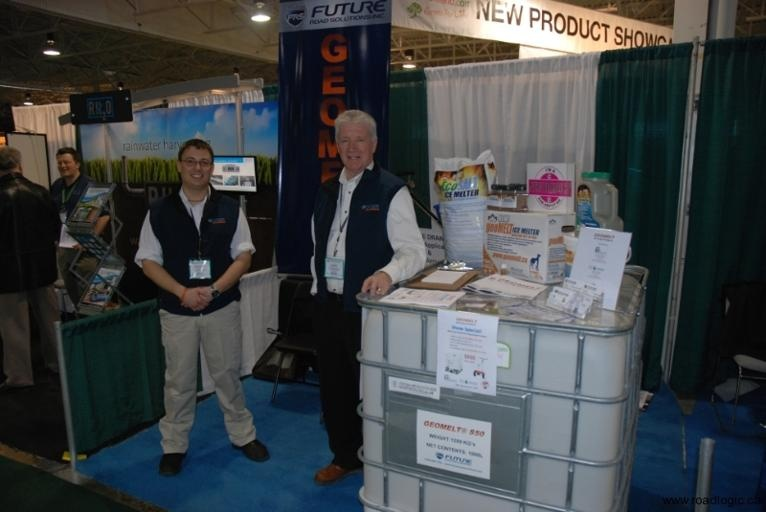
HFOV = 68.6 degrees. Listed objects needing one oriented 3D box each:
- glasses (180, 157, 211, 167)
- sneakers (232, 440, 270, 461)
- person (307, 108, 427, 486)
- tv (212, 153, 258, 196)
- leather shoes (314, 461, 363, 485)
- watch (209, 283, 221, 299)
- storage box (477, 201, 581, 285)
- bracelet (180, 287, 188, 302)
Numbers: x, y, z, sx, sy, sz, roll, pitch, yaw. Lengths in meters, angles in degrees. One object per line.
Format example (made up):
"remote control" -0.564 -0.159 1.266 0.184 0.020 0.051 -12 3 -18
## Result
"glasses" -1.410 -0.709 4.249 0.220 0.074 0.080 -8 17 -20
"sneakers" -1.057 1.565 4.516 0.283 0.124 0.116 3 10 26
"person" -0.109 0.367 3.945 1.002 2.690 0.765 12 21 43
"tv" -1.886 -1.035 7.155 0.813 0.536 0.059 4 6 10
"leather shoes" -0.311 1.635 4.280 0.387 0.166 0.143 1 5 -21
"watch" -1.263 0.274 4.224 0.073 0.114 0.099 1 -4 -36
"storage box" 0.849 -0.210 3.355 0.698 0.530 0.363 7 10 40
"bracelet" -1.463 0.275 4.174 0.066 0.081 0.031 7 -1 36
